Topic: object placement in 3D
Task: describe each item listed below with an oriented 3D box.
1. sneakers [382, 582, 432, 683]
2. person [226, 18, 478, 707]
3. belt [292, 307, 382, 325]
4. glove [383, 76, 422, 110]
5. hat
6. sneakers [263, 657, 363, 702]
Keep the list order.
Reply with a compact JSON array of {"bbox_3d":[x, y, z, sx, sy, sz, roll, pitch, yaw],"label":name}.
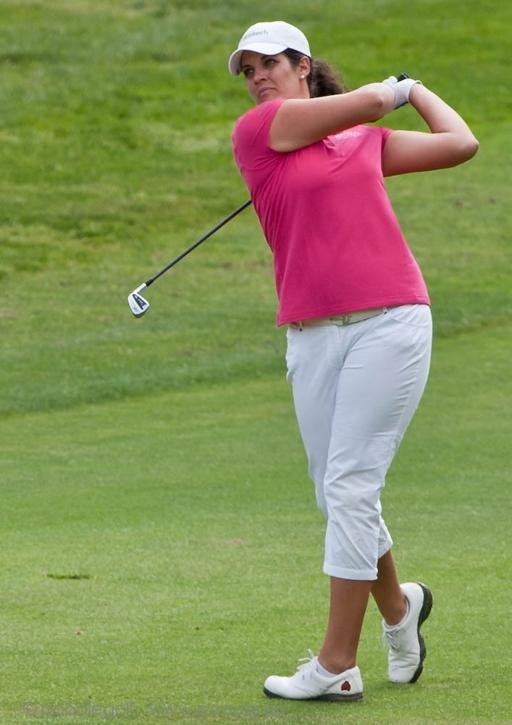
[{"bbox_3d":[0.355,0.632,2.988,0.085,0.218,0.105,-9,-24,42],"label":"sneakers"},{"bbox_3d":[0.253,-0.038,2.937,0.556,1.493,0.645,-4,16,5],"label":"person"},{"bbox_3d":[0.177,-0.101,2.857,0.222,0.046,0.032,3,17,25],"label":"belt"},{"bbox_3d":[0.337,-0.635,2.967,0.074,0.046,0.107,18,4,-18],"label":"glove"},{"bbox_3d":[0.034,-0.754,3.006,0.169,0.077,0.118,6,-13,-42],"label":"hat"},{"bbox_3d":[0.134,0.715,2.899,0.246,0.095,0.084,1,-6,10],"label":"sneakers"}]
